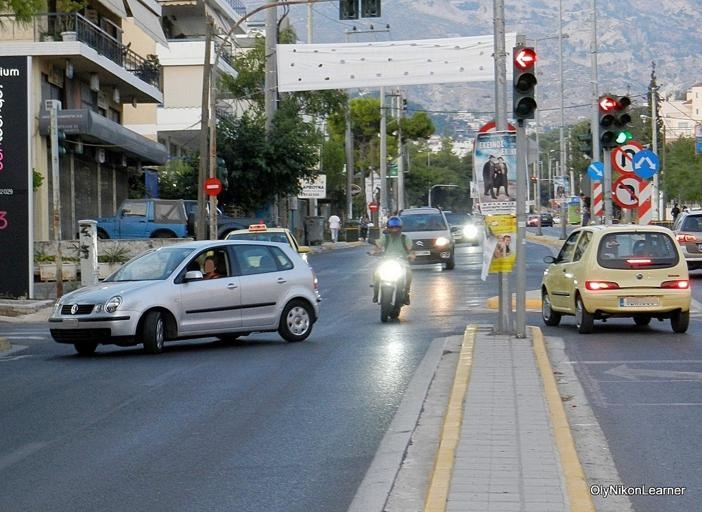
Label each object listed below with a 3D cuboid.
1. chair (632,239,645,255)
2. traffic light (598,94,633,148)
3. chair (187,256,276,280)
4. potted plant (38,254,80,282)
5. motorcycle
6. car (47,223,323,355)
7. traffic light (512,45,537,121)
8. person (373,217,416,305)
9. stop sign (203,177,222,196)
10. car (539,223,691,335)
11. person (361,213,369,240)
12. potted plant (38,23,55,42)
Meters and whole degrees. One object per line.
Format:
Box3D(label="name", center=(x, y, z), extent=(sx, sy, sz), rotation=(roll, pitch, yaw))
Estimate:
Box3D(label="chair", center=(4.929, -0.152, 14.284), extent=(0.249, 0.279, 0.221), rotation=(2, -1, -7))
Box3D(label="traffic light", center=(5.923, -3.066, 18.821), extent=(0.635, 1.091, 0.791), rotation=(-1, 1, 16))
Box3D(label="chair", center=(-1.961, 0.171, 14.504), extent=(0.957, 0.243, 0.546), rotation=(-2, 25, -9))
Box3D(label="potted plant", center=(-9.771, 0.440, 28.090), extent=(1.111, 0.638, 1.073), rotation=(0, 2, 0))
Box3D(label="motorcycle", center=(0.883, 0.418, 17.222), extent=(0.807, 1.814, 1.292), rotation=(-2, 1, 2))
Box3D(label="car", center=(-2.705, 0.602, 14.357), extent=(4.242, 1.538, 2.014), rotation=(3, -5, -40))
Box3D(label="traffic light", center=(2.588, -2.604, 12.419), extent=(0.342, 1.153, 0.614), rotation=(-2, 1, 10))
Box3D(label="person", center=(0.949, -0.137, 17.580), extent=(0.839, 1.047, 1.896), rotation=(0, -1, 6))
Box3D(label="stop sign", center=(-5.132, -2.647, 31.575), extent=(0.551, 0.538, 0.745), rotation=(-2, 1, -10))
Box3D(label="car", center=(4.954, 0.435, 15.780), extent=(2.073, 1.800, 3.696), rotation=(0, 1, -1))
Box3D(label="person", center=(1.171, -2.201, 65.687), extent=(0.541, 1.914, 1.398), rotation=(-2, 1, -2))
Box3D(label="potted plant", center=(-11.985, -9.049, 33.273), extent=(0.843, 0.759, 0.286), rotation=(-2, 1, -29))
